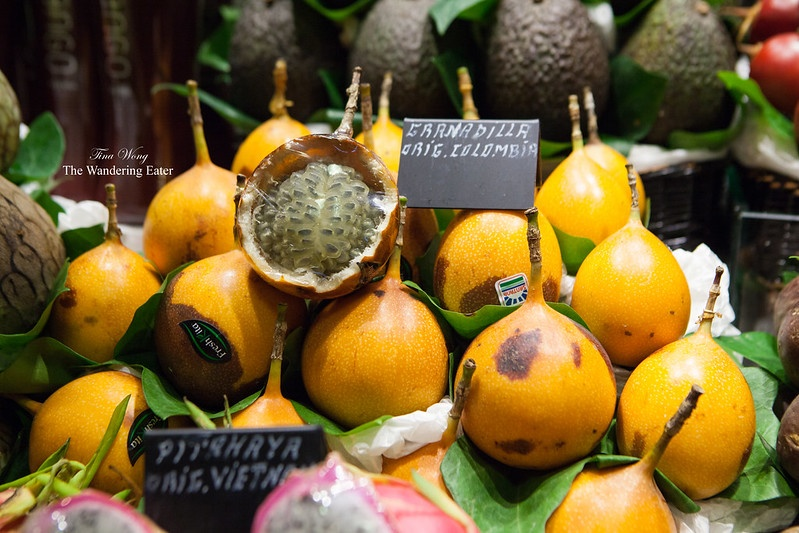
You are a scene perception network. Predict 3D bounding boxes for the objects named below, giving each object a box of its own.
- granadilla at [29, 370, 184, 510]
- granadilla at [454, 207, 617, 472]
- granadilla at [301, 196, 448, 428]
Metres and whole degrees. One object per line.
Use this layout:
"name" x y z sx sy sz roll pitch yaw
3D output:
"granadilla" -0.503 0.273 1.253 0.224 0.193 0.242 -3 13 -2
"granadilla" 0.203 0.092 1.228 0.278 0.428 0.386 -3 18 -8
"granadilla" -0.017 0.077 1.304 0.213 0.400 0.286 -2 -4 6
